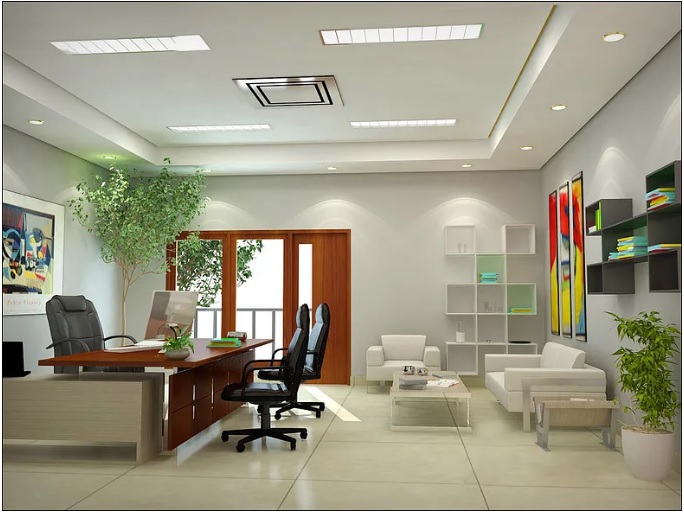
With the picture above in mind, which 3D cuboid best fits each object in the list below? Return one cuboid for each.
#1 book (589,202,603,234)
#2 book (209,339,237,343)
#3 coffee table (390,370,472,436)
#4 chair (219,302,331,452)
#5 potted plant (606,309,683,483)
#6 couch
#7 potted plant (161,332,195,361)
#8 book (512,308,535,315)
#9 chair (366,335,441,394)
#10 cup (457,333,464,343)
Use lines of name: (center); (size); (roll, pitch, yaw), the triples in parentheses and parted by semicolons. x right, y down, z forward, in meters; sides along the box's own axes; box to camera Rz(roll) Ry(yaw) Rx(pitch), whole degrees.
book: (2.775, -0.416, 5.291); (0.131, 0.340, 0.387); (1, -2, 18)
book: (-1.417, 1.056, 5.990); (0.170, 0.043, 0.175); (0, -6, 1)
coffee table: (1.144, 1.810, 6.179); (0.991, 0.539, 1.717); (0, -3, 9)
chair: (-0.750, 1.441, 5.918); (1.333, 2.018, 1.340); (2, -8, -3)
potted plant: (2.836, 1.244, 4.500); (0.509, 1.449, 1.038); (-1, -2, 29)
couch: (2.389, 1.677, 5.726); (0.847, 0.690, 1.255); (0, -5, 9)
potted plant: (-1.657, 0.890, 4.927); (0.311, 0.222, 0.316); (1, -6, -10)
book: (2.941, 0.911, 7.869); (0.371, 0.089, 0.337); (-1, -3, 11)
chair: (0.922, 1.590, 7.694); (1.246, 0.875, 0.699); (-1, -12, 4)
cup: (1.937, 1.338, 7.911); (0.106, 0.160, 0.110); (0, -2, 0)
